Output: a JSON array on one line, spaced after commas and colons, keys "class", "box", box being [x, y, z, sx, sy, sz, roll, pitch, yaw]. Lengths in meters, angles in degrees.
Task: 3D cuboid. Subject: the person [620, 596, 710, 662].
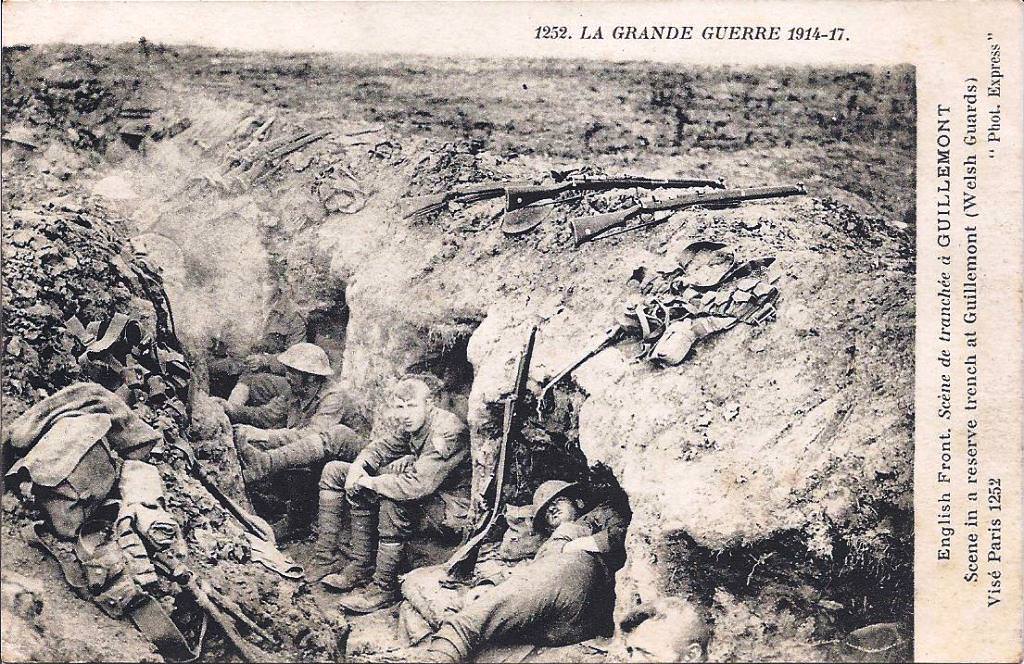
[{"class": "person", "box": [1.459, 2.825, 21.559, 0.741, 0.555, 0.563, 5, -7, 6]}]

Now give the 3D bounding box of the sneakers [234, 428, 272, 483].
[{"class": "sneakers", "box": [-2.602, 1.241, 22.444, 0.280, 0.629, 0.210, -16, -5, 37]}]

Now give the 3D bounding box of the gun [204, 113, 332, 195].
[{"class": "gun", "box": [-2.564, -1.772, 22.970, 0.990, 0.555, 0.169, -31, -5, -7]}]

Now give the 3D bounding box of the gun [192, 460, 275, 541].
[{"class": "gun", "box": [-2.597, 1.648, 22.296, 1.241, 0.105, 0.408, 40, -12, 5]}]

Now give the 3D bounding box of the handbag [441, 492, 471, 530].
[{"class": "handbag", "box": [-0.578, 1.735, 22.199, 0.346, 0.322, 0.124, 4, -10, -2]}]

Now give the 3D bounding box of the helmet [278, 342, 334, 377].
[{"class": "helmet", "box": [-2.096, 0.294, 22.824, 0.413, 0.154, 0.379, 19, 2, -23]}]

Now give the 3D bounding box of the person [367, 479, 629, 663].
[{"class": "person", "box": [0.108, 2.382, 21.948, 2.567, 1.081, 1.276, -24, 25, -13]}]
